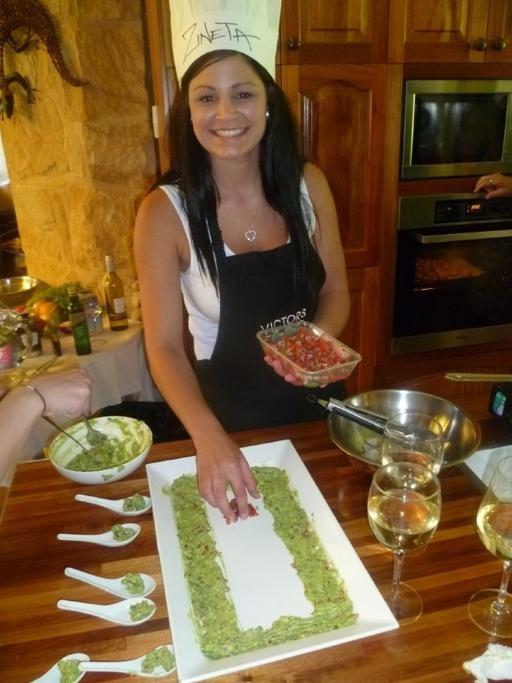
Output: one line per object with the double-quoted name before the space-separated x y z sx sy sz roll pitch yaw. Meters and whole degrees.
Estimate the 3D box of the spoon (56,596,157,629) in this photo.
"spoon" -0.228 0.411 0.810 0.152 0.025 0.050 3 37 10

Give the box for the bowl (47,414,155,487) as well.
"bowl" -0.341 0.246 1.196 0.192 0.066 0.195 8 22 -3

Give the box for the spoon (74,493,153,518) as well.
"spoon" -0.295 0.323 1.064 0.159 0.027 0.053 2 33 19

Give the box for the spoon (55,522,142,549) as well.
"spoon" -0.282 0.357 0.950 0.147 0.028 0.052 -1 30 2

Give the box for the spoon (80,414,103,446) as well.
"spoon" -0.397 0.212 1.250 0.041 0.075 0.013 -28 -11 -25

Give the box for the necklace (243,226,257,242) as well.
"necklace" -0.015 -0.323 1.559 0.034 0.037 0.009 -11 0 -18

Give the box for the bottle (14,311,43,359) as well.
"bottle" -0.989 -0.023 2.284 0.116 0.188 0.111 -3 4 0

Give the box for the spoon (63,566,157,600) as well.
"spoon" -0.239 0.397 0.851 0.139 0.035 0.049 1 32 19

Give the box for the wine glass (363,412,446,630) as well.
"wine glass" 0.237 0.294 0.825 0.112 0.297 0.115 -6 38 0

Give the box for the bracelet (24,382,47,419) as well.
"bracelet" -0.475 0.127 1.123 0.023 0.058 0.066 -22 27 -38

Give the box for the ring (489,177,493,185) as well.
"ring" 1.104 -0.762 2.455 0.010 0.025 0.032 5 35 18

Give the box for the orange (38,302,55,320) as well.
"orange" -0.973 -0.139 2.411 0.049 0.062 0.064 20 -15 -22
